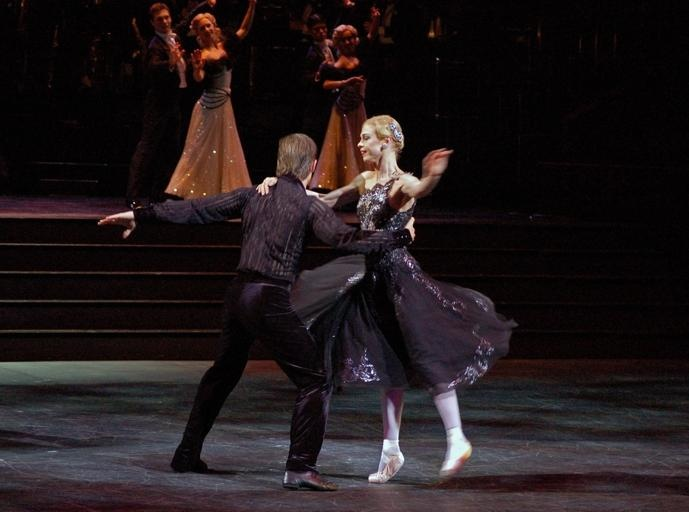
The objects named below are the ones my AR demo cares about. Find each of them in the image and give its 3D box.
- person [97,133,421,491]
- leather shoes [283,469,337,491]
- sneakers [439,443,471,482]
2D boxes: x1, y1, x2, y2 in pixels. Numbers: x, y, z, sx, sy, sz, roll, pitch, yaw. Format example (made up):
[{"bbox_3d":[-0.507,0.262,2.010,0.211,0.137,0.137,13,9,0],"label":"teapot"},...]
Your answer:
[{"bbox_3d":[-0.445,0.291,4.180,1.383,1.934,0.550,13,15,21],"label":"person"},{"bbox_3d":[-0.200,1.192,4.038,0.364,0.083,0.100,1,-3,-9],"label":"leather shoes"},{"bbox_3d":[0.590,1.091,4.093,0.134,0.203,0.098,8,14,-3],"label":"sneakers"}]
